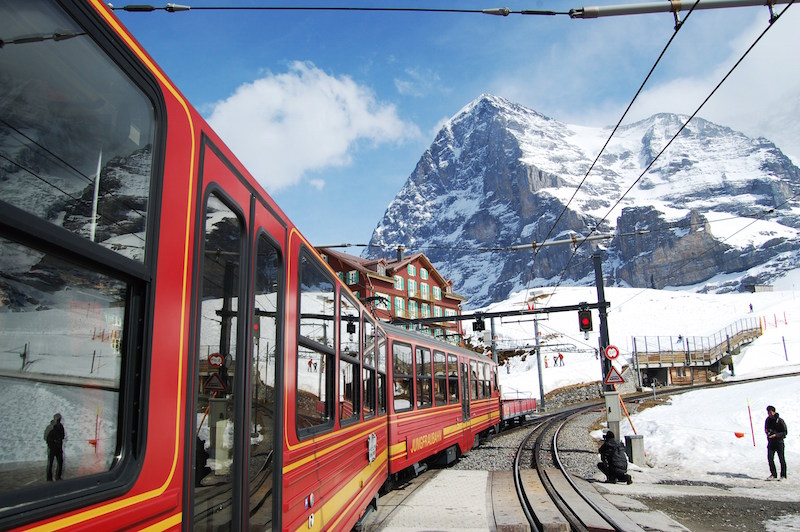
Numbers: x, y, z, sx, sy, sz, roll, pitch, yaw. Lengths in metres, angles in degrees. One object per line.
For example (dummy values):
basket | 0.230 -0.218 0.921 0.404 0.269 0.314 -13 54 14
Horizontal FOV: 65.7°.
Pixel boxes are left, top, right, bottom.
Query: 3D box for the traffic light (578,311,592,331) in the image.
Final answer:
traffic light | 5.345 1.559 17.956 0.336 0.637 0.817 -7 -19 15
